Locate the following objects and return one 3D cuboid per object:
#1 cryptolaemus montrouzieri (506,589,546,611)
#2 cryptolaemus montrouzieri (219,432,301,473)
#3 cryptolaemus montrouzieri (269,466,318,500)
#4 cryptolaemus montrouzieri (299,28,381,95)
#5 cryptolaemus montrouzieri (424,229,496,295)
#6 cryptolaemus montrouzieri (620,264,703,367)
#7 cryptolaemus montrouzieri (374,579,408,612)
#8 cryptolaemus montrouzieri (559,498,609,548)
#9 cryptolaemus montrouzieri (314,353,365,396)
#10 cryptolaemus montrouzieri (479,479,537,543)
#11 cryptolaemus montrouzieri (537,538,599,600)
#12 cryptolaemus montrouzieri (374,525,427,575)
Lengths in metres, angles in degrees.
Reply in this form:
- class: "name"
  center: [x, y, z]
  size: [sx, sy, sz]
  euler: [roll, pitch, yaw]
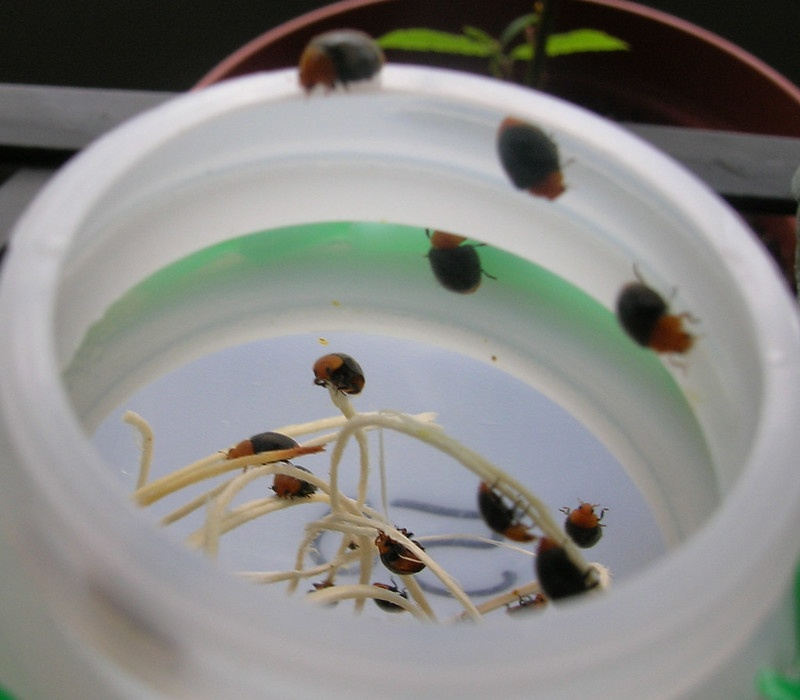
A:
- class: "cryptolaemus montrouzieri"
  center: [0.090, 0.177, 0.656]
  size: [0.031, 0.011, 0.016]
  euler: [-3, 29, 23]
- class: "cryptolaemus montrouzieri"
  center: [-0.100, 0.073, 0.658]
  size: [0.056, 0.018, 0.019]
  euler: [-13, 28, 9]
- class: "cryptolaemus montrouzieri"
  center: [-0.077, 0.098, 0.643]
  size: [0.026, 0.011, 0.019]
  euler: [1, 94, 9]
- class: "cryptolaemus montrouzieri"
  center: [-0.039, -0.197, 0.619]
  size: [0.050, 0.014, 0.042]
  euler: [1, 71, 7]
- class: "cryptolaemus montrouzieri"
  center: [0.037, -0.078, 0.752]
  size: [0.053, 0.016, 0.062]
  euler: [-5, 39, -12]
- class: "cryptolaemus montrouzieri"
  center: [0.188, -0.017, 0.655]
  size: [0.026, 0.056, 0.076]
  euler: [9, 20, -30]
- class: "cryptolaemus montrouzieri"
  center: [-0.008, 0.177, 0.657]
  size: [0.025, 0.030, 0.022]
  euler: [0, 74, 0]
- class: "cryptolaemus montrouzieri"
  center: [0.143, 0.127, 0.678]
  size: [0.032, 0.009, 0.030]
  euler: [16, 92, 4]
- class: "cryptolaemus montrouzieri"
  center: [-0.042, 0.017, 0.635]
  size: [0.034, 0.027, 0.026]
  euler: [21, 81, 6]
- class: "cryptolaemus montrouzieri"
  center: [0.075, 0.117, 0.640]
  size: [0.049, 0.050, 0.013]
  euler: [37, 105, 26]
- class: "cryptolaemus montrouzieri"
  center: [0.102, 0.124, 0.547]
  size: [0.010, 0.028, 0.041]
  euler: [-22, 86, -48]
- class: "cryptolaemus montrouzieri"
  center: [0.001, 0.144, 0.653]
  size: [0.028, 0.041, 0.016]
  euler: [-11, 54, 29]
